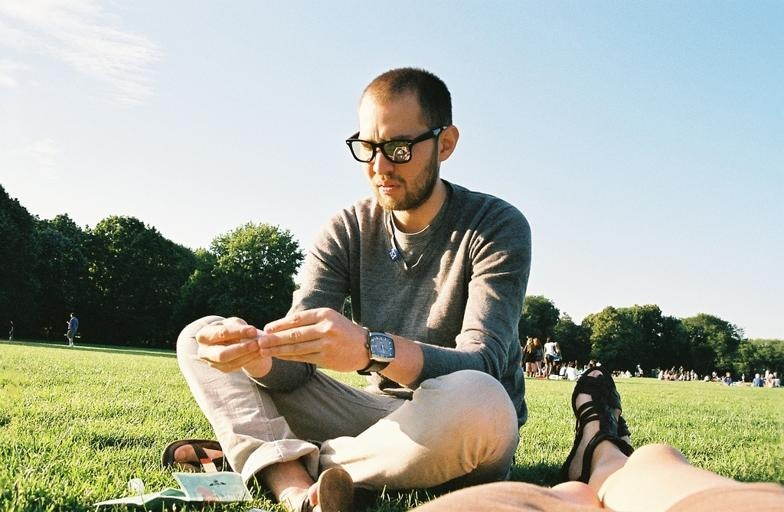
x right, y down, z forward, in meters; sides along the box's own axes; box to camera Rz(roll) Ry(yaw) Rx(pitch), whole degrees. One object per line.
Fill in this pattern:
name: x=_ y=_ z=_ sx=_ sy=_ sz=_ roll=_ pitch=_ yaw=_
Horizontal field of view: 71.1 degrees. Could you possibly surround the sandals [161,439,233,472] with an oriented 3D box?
sandals: x=-1.225 y=1.250 z=3.451 sx=0.410 sy=0.179 sz=0.117 roll=11 pitch=-12 yaw=-15
